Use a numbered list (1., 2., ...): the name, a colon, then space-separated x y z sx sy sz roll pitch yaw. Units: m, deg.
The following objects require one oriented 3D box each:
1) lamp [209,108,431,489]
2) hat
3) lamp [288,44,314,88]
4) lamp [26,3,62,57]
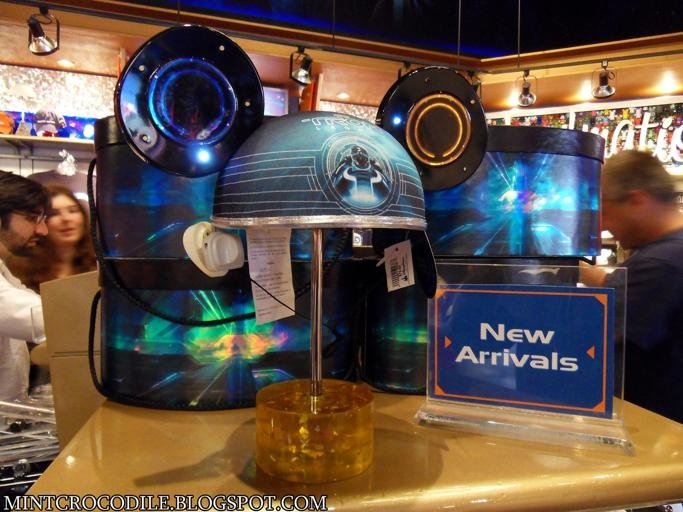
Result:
1. lamp: -0.066 0.045 1.091 0.501 0.762 0.471 -1 3 -26
2. hat: -0.038 -0.101 0.724 0.212 0.113 0.213 3 4 -6
3. lamp: -0.237 -1.090 2.928 0.140 0.251 0.360 2 5 -5
4. lamp: -1.507 -1.154 2.543 0.180 0.262 0.161 -9 43 -24
